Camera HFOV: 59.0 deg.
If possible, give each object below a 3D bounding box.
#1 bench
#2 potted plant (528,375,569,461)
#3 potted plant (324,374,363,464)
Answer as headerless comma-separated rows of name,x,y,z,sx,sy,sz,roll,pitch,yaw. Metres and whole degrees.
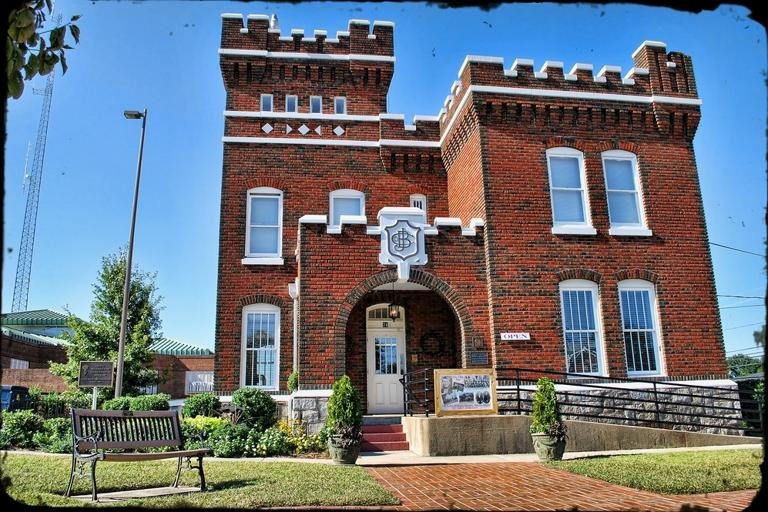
bench,-5.265,4.227,14.643,1.225,1.749,3.002,-9,-17,28
potted plant,4.259,4.248,17.744,0.854,2.108,0.560,-4,-14,12
potted plant,-1.071,4.209,17.535,0.898,2.220,0.622,0,-14,-5
